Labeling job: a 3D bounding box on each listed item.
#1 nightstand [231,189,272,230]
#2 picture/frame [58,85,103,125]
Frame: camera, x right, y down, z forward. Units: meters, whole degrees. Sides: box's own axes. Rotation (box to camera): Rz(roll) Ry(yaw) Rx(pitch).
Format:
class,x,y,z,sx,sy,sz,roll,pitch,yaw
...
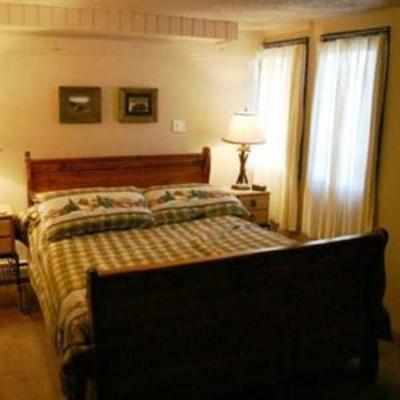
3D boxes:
class,x,y,z,sx,sy,sz,roll,pitch,yaw
nightstand,0.471,0.061,3.800,0.432,0.372,0.362,-3,11,-16
picture/frame,-1.072,-0.852,3.239,0.392,0.339,0.042,-3,10,-23
